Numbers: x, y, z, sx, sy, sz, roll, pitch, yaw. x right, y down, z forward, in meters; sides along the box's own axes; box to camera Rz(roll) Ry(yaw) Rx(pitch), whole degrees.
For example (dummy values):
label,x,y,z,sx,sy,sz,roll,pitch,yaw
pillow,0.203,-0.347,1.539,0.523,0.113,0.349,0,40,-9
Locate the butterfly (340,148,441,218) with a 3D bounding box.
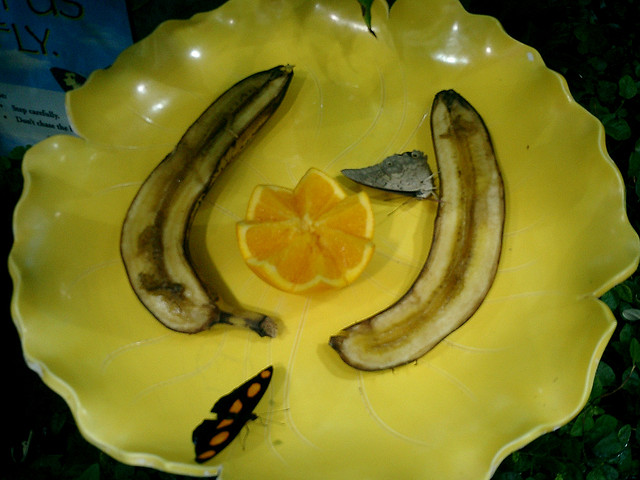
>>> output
label,x,y,z,sx,sy,sz,roll,pitch,yaw
butterfly,0.297,-0.209,3.062,0.415,0.303,0.240,-9,-51,-7
